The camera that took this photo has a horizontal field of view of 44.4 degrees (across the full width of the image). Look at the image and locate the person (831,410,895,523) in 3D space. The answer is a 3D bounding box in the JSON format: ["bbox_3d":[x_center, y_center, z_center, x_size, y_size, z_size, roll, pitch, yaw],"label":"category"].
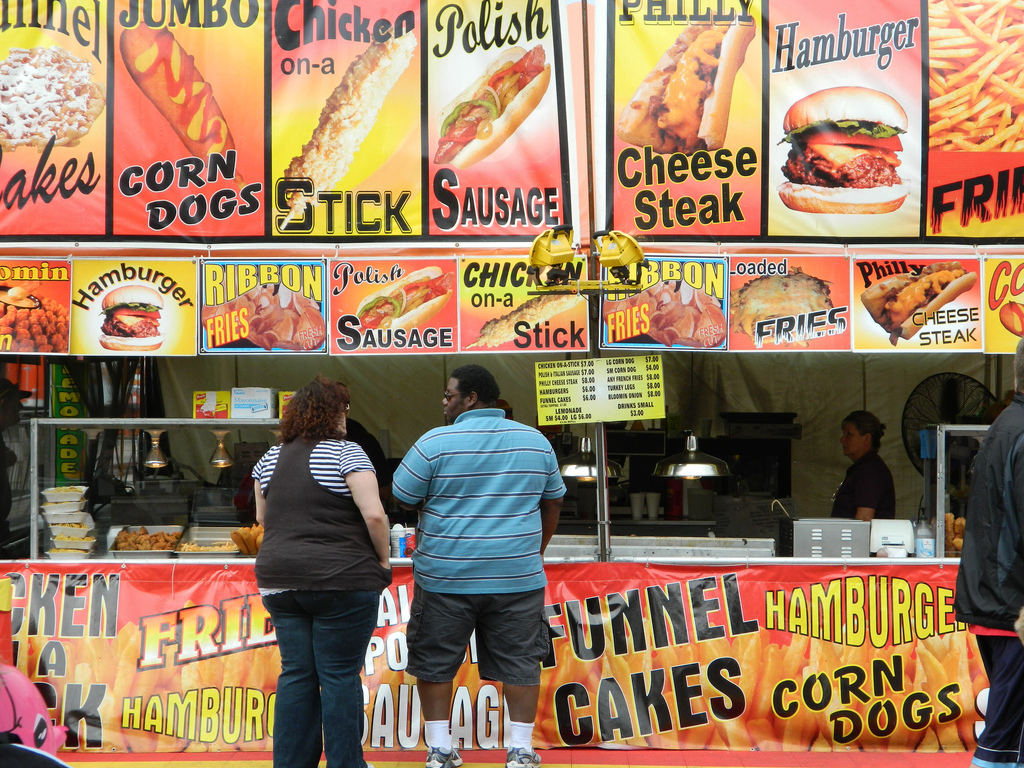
[{"bbox_3d":[2.407,0.550,8.635,0.400,0.783,0.599,-2,-10,14],"label":"person"}]

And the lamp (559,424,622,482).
[{"bbox_3d":[0.564,0.523,9.057,0.491,0.374,0.462,0,-9,-2],"label":"lamp"}]

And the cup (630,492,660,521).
[{"bbox_3d":[1.094,1.001,10.311,0.211,0.161,0.226,0,-13,0],"label":"cup"}]

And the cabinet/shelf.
[{"bbox_3d":[1.113,0.834,10.849,1.680,0.767,1.535,-2,-6,7],"label":"cabinet/shelf"}]

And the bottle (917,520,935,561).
[{"bbox_3d":[2.530,0.947,7.709,0.120,0.248,0.464,-2,-10,17],"label":"bottle"}]
